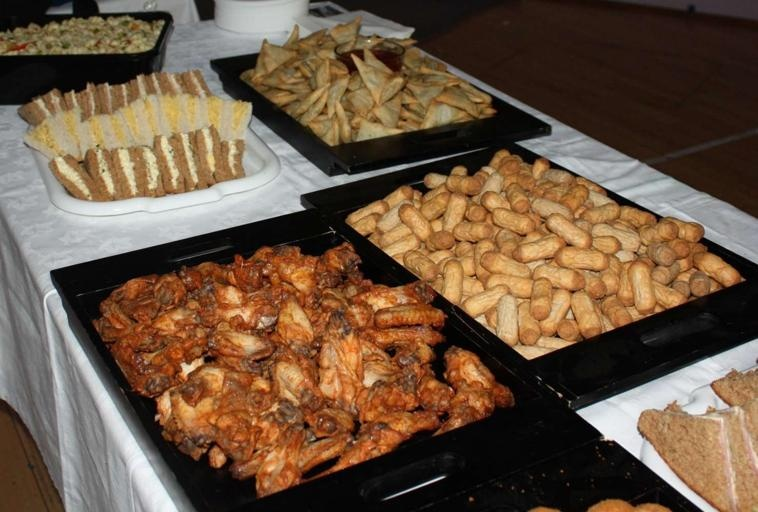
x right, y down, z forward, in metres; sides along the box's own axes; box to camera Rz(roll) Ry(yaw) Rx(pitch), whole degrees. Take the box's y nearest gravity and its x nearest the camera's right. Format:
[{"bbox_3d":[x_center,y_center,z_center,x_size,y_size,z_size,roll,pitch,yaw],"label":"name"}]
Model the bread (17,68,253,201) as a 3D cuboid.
[{"bbox_3d":[-0.808,-0.400,1.861,0.564,0.160,0.531,-12,35,-22],"label":"bread"}]
